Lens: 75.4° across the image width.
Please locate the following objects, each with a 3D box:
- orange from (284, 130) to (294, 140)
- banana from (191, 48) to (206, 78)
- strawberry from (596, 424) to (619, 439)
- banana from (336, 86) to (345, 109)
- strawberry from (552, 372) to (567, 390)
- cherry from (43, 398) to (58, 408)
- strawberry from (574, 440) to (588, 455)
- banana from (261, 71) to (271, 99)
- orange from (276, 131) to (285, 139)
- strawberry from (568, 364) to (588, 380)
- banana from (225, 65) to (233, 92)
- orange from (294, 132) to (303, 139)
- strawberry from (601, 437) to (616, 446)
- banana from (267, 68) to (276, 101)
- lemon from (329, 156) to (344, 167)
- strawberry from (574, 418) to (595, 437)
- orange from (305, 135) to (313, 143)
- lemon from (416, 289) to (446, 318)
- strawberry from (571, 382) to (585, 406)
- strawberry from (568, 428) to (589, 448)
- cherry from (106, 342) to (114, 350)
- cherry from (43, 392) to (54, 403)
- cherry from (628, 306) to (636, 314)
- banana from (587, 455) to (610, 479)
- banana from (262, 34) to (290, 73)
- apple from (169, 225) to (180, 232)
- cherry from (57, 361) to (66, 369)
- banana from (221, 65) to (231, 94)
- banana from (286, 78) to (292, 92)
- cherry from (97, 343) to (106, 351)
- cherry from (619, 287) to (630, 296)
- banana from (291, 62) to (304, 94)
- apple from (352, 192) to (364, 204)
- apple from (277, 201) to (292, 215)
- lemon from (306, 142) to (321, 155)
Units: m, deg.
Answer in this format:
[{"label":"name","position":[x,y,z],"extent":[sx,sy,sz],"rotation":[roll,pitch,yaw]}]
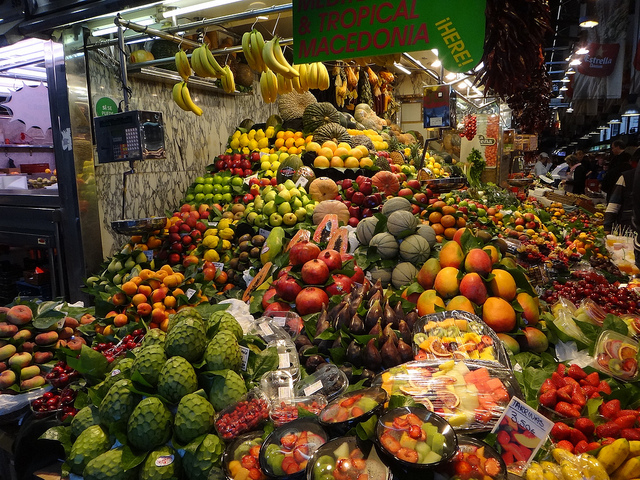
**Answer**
[{"label":"orange","position":[-0.422,-1.378,5.438],"extent":[0.097,0.106,0.117],"rotation":[-6,5,-2]},{"label":"banana","position":[-1.132,-1.693,3.968],"extent":[0.064,0.212,0.183],"rotation":[-7,51,6]},{"label":"strawberry","position":[1.247,0.833,1.804],"extent":[0.072,0.056,0.056],"rotation":[-4,-10,25]},{"label":"banana","position":[0.309,-2.282,6.595],"extent":[0.119,0.338,0.154],"rotation":[14,63,22]},{"label":"strawberry","position":[1.151,0.688,2.007],"extent":[0.037,0.062,0.048],"rotation":[-35,2,-2]},{"label":"cherry","position":[-1.538,0.933,2.370],"extent":[0.044,0.023,0.036],"rotation":[3,21,-8]},{"label":"strawberry","position":[1.114,0.892,1.773],"extent":[0.042,0.047,0.060],"rotation":[9,46,34]},{"label":"banana","position":[-0.558,-1.574,4.202],"extent":[0.083,0.249,0.067],"rotation":[-1,45,-3]},{"label":"orange","position":[-0.527,-1.394,5.470],"extent":[0.081,0.102,0.085],"rotation":[14,11,-8]},{"label":"strawberry","position":[1.292,0.658,2.088],"extent":[0.079,0.064,0.063],"rotation":[10,49,19]},{"label":"banana","position":[-0.945,-1.704,4.349],"extent":[0.074,0.217,0.059],"rotation":[-5,29,11]},{"label":"orange","position":[-0.289,-1.372,5.444],"extent":[0.079,0.086,0.099],"rotation":[16,7,13]},{"label":"strawberry","position":[1.230,0.865,1.779],"extent":[0.035,0.033,0.038],"rotation":[14,-12,-42]},{"label":"banana","position":[-0.495,-1.586,4.199],"extent":[0.093,0.279,0.062],"rotation":[-23,39,-22]},{"label":"lemon","position":[0.173,-0.835,4.423],"extent":[0.150,0.107,0.095],"rotation":[-4,14,0]},{"label":"strawberry","position":[1.161,0.816,1.834],"extent":[0.066,0.083,0.062],"rotation":[-51,10,-34]},{"label":"orange","position":[-0.143,-1.299,5.267],"extent":[0.083,0.092,0.105],"rotation":[-6,-1,13]},{"label":"lemon","position":[0.632,0.380,2.493],"extent":[0.142,0.181,0.149],"rotation":[8,-31,-18]},{"label":"strawberry","position":[1.219,0.726,1.941],"extent":[0.040,0.029,0.088],"rotation":[-1,42,27]},{"label":"strawberry","position":[1.123,0.865,1.809],"extent":[0.078,0.048,0.061],"rotation":[-15,11,-23]},{"label":"cherry","position":[-1.353,0.686,2.665],"extent":[0.032,0.035,0.032],"rotation":[14,-17,43]},{"label":"cherry","position":[-1.588,0.919,2.413],"extent":[0.038,0.050,0.039],"rotation":[-17,-12,35]},{"label":"cherry","position":[2.037,0.460,2.719],"extent":[0.033,0.035,0.043],"rotation":[-18,47,25]},{"label":"banana","position":[1.129,0.929,1.683],"extent":[0.041,0.050,0.085],"rotation":[21,27,-26]},{"label":"banana","position":[-0.387,-1.574,3.502],"extent":[0.209,0.300,0.176],"rotation":[-10,15,-24]},{"label":"apple","position":[-1.408,-0.105,3.986],"extent":[0.068,0.059,0.058],"rotation":[2,34,-43]},{"label":"cherry","position":[-1.607,0.775,2.574],"extent":[0.039,0.040,0.049],"rotation":[8,43,-31]},{"label":"banana","position":[-0.999,-1.671,4.346],"extent":[0.096,0.306,0.078],"rotation":[-12,26,-36]},{"label":"banana","position":[-0.335,-1.675,4.451],"extent":[0.041,0.134,0.035],"rotation":[-1,20,36]},{"label":"cherry","position":[-1.396,0.688,2.646],"extent":[0.039,0.041,0.049],"rotation":[9,32,-21]},{"label":"cherry","position":[2.097,0.354,2.849],"extent":[0.056,0.034,0.049],"rotation":[12,-3,-2]},{"label":"banana","position":[-0.245,-1.649,4.369],"extent":[0.144,0.421,0.077],"rotation":[-3,-3,-24]},{"label":"apple","position":[0.330,-0.378,3.675],"extent":[0.084,0.111,0.089],"rotation":[-3,2,13]},{"label":"apple","position":[-0.320,-0.278,3.720],"extent":[0.110,0.089,0.085],"rotation":[-32,6,32]},{"label":"lemon","position":[-0.084,-1.041,4.688],"extent":[0.118,0.130,0.237],"rotation":[-16,19,-41]}]
